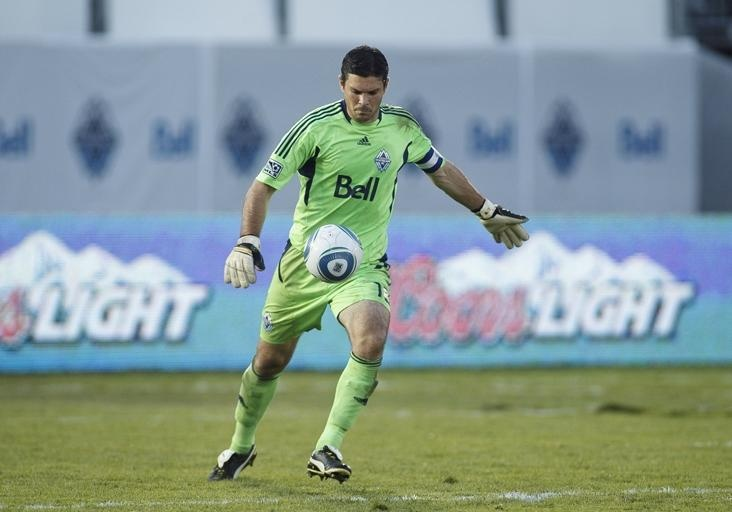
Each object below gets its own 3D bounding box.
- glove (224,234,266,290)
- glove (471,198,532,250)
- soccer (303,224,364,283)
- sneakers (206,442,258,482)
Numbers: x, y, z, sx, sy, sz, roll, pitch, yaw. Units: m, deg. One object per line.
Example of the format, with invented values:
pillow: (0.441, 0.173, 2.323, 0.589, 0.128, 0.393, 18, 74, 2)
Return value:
glove: (-0.963, 0.060, 11.820, 0.358, 0.469, 0.133, 16, -12, 13)
glove: (1.238, -0.318, 12.730, 0.394, 0.474, 0.404, -4, 14, -13)
soccer: (-0.290, 0.006, 11.955, 0.493, 0.482, 0.455, 1, -9, -9)
sneakers: (-1.158, 1.849, 12.335, 0.177, 0.495, 0.212, 35, -14, 41)
